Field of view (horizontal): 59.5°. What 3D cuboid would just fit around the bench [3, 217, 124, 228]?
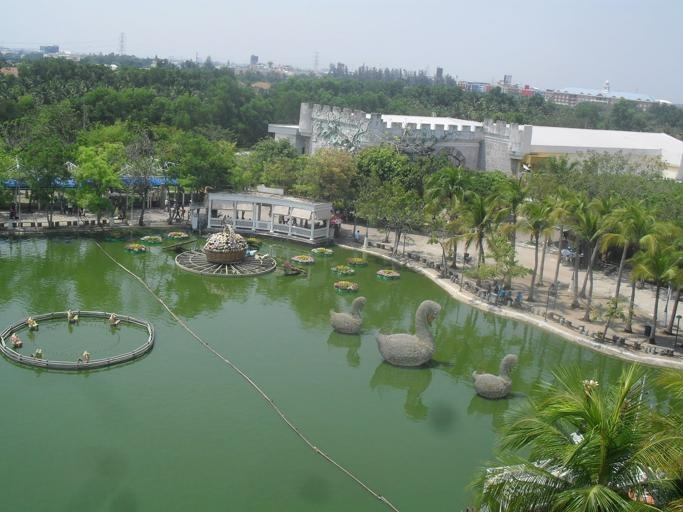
[{"bbox_3d":[-29.277,-3.425,62.519,11.110,0.873,2.959,-4,14,-27],"label":"bench"}]

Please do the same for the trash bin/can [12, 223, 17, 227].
[{"bbox_3d":[-32.750,-3.052,59.805,0.438,0.402,0.517,-5,14,-31],"label":"trash bin/can"}]
